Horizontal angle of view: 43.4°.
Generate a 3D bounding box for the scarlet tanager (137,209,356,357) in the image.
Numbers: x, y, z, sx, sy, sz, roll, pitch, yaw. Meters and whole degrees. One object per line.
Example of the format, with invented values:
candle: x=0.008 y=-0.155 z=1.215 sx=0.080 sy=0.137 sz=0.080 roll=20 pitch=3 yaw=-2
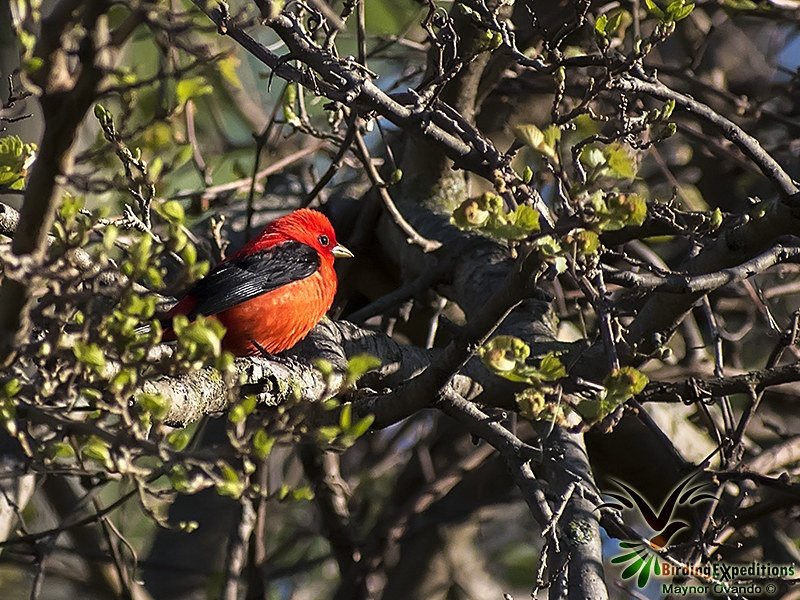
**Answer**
scarlet tanager: x=-0.830 y=-0.085 z=5.779 sx=1.230 sy=0.895 sz=0.607 roll=-1 pitch=-15 yaw=-22
